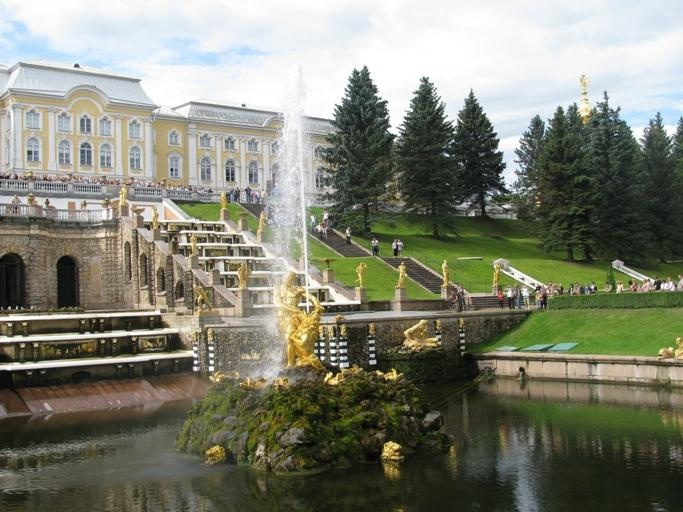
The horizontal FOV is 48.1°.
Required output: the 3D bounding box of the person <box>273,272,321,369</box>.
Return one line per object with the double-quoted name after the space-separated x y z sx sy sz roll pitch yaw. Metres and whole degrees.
-1.543 2.301 26.963 1.573 3.428 0.739 -1 6 4 "person"
